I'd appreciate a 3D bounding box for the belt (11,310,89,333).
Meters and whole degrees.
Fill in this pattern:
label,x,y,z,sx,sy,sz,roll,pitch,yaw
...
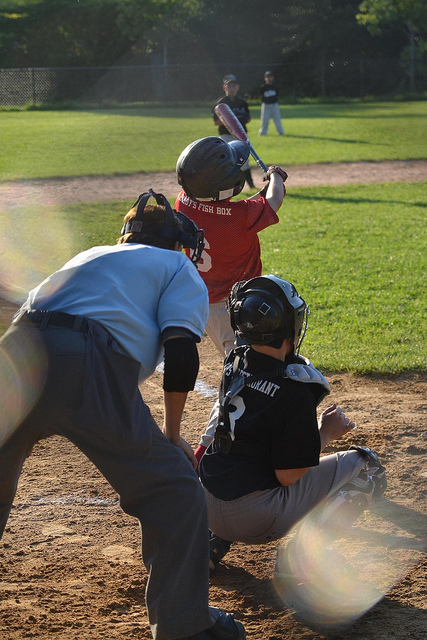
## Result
label,x,y,z,sx,sy,sz,roll,pitch,yaw
belt,-0.521,0.000,2.372,0.293,0.055,0.070,6,12,30

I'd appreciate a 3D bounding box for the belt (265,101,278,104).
label,x,y,z,sx,sy,sz,roll,pitch,yaw
belt,1.237,-4.726,16.575,0.269,0.033,0.121,-1,10,-8

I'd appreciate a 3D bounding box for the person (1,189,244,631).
label,x,y,z,sx,sy,sz,roll,pitch,yaw
person,-0.280,0.386,2.475,0.759,1.237,0.455,0,12,2
